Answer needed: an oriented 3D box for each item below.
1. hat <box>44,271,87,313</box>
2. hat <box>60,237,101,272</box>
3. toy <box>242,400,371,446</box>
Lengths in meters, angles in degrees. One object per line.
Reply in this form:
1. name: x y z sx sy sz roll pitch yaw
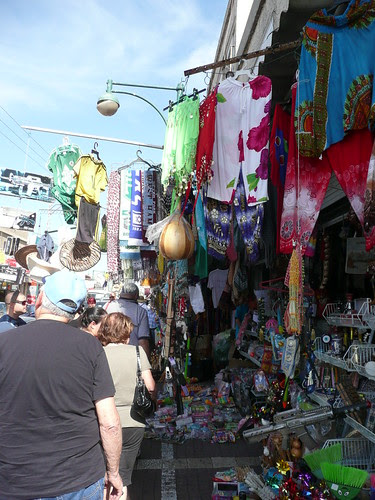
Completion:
1. hat: -0.539 0.179 1.747 0.120 0.220 0.147 4 0 4
2. hat: -1.395 0.058 5.078 0.507 0.427 0.209 3 -3 -15
3. toy: 0.660 0.968 2.278 0.686 0.241 0.209 3 -3 -2
